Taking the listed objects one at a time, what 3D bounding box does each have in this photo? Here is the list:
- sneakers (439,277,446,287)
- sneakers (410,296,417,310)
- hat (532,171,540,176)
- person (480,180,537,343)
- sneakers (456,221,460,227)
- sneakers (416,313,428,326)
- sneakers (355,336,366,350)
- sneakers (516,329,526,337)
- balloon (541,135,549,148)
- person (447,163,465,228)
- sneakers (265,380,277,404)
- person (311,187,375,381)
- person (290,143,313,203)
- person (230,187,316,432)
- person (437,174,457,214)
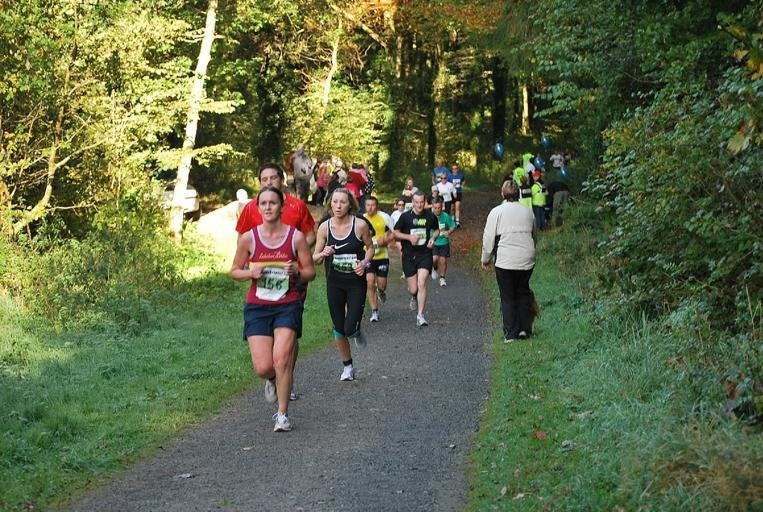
[{"bbox_3d":[1.537,0.658,17.648,0.183,0.286,0.569,-1,0,-1],"label":"sneakers"},{"bbox_3d":[0.657,0.974,14.462,0.097,0.355,0.224,0,-8,-2],"label":"sneakers"},{"bbox_3d":[5.209,-2.823,23.524,0.241,0.220,0.204,18,10,-7],"label":"hat"},{"bbox_3d":[2.158,0.091,11.737,0.885,2.694,0.828,2,9,10],"label":"person"},{"bbox_3d":[2.884,-1.217,26.179,0.148,0.241,0.538,-2,-6,4],"label":"sneakers"},{"bbox_3d":[0.785,1.216,13.518,0.221,0.238,0.383,1,11,3],"label":"sneakers"},{"bbox_3d":[-0.327,1.311,10.597,0.111,0.284,0.245,-5,2,-3],"label":"sneakers"},{"bbox_3d":[2.343,1.283,11.581,0.104,0.090,0.111,-4,8,-27],"label":"sneakers"},{"bbox_3d":[7.928,-5.562,33.450,0.385,0.486,0.569,-6,13,0],"label":"balloon"},{"bbox_3d":[2.739,-2.285,25.665,0.617,2.282,1.173,-1,3,11],"label":"person"},{"bbox_3d":[-1.493,1.773,9.106,0.129,0.330,0.197,-6,8,-27],"label":"sneakers"},{"bbox_3d":[-0.541,0.410,10.300,0.826,2.858,0.596,0,8,-3],"label":"person"},{"bbox_3d":[-3.052,-3.215,26.345,0.540,2.301,1.171,0,-26,-2],"label":"person"},{"bbox_3d":[-1.324,0.652,8.541,0.960,2.964,0.637,-1,9,-6],"label":"person"},{"bbox_3d":[2.234,-1.948,24.201,0.667,1.897,0.562,3,28,19],"label":"person"}]
